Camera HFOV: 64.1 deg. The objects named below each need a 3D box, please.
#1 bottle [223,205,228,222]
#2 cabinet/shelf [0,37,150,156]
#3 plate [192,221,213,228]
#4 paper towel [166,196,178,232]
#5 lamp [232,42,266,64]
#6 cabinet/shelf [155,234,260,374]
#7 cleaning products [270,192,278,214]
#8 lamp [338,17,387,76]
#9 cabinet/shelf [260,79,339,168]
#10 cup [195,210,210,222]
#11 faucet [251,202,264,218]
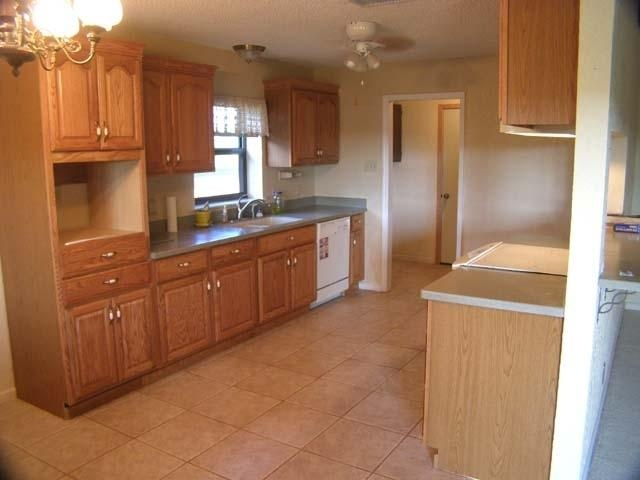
[{"bbox_3d":[-0.975,-0.268,5.261,0.054,0.148,0.187,-3,14,-10],"label":"bottle"},{"bbox_3d":[-1.642,-0.928,3.356,0.350,0.715,0.828,2,11,17],"label":"cabinet/shelf"},{"bbox_3d":[-1.126,-0.141,4.911,0.177,0.047,0.123,-4,14,-14],"label":"plate"},{"bbox_3d":[-1.351,-0.227,4.658,0.094,0.314,0.162,-5,15,-17],"label":"paper towel"},{"bbox_3d":[-0.679,-1.751,4.799,0.322,0.153,0.317,-1,4,-6],"label":"lamp"},{"bbox_3d":[-0.980,0.544,4.307,0.431,0.879,1.027,3,10,26],"label":"cabinet/shelf"},{"bbox_3d":[-0.503,-0.411,5.774,0.096,0.228,0.117,-1,14,-2],"label":"cleaning products"},{"bbox_3d":[0.339,-1.597,4.272,0.312,0.288,0.310,2,-5,-43],"label":"lamp"},{"bbox_3d":[-0.268,-1.298,5.703,0.441,0.869,1.010,4,10,29],"label":"cabinet/shelf"},{"bbox_3d":[-1.111,-0.223,4.859,0.111,0.092,0.111,0,12,0],"label":"cup"},{"bbox_3d":[-0.693,-0.325,5.599,0.088,0.161,0.169,2,5,23],"label":"faucet"}]
